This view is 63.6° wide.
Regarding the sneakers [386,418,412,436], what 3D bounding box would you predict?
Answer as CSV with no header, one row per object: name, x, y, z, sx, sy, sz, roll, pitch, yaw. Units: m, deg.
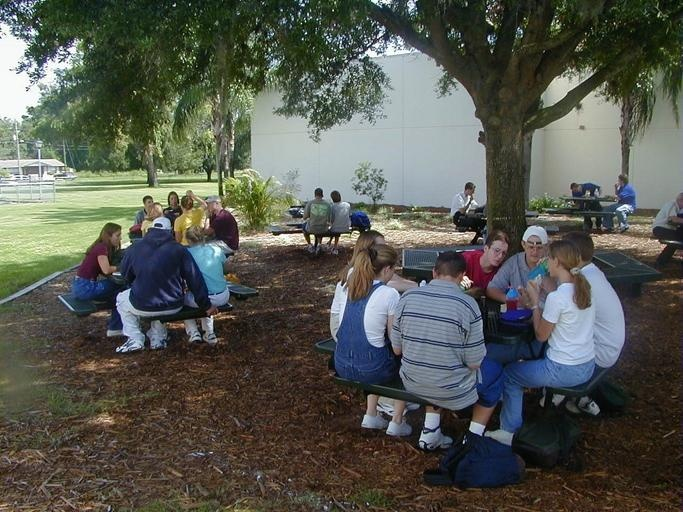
sneakers,0.519,1.565,5.036,0.242,0.112,0.111,2,-1,-28

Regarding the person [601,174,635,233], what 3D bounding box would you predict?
person,8.127,-1.592,16.011,0.813,1.553,3.280,5,11,27

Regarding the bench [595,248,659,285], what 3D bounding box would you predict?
bench,4.185,0.173,8.091,0.734,0.168,0.732,-5,25,-18

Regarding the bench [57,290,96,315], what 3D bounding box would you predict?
bench,-3.450,0.646,7.203,0.298,0.112,0.980,-7,12,-35

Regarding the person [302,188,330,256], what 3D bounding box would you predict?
person,-0.588,-0.845,13.051,0.676,1.503,0.501,1,10,9

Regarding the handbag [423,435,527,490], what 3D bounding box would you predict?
handbag,1.064,1.660,4.342,0.514,0.196,0.489,-5,5,16

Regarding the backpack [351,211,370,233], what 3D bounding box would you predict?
backpack,0.452,-0.847,14.015,0.475,0.481,0.992,0,10,0

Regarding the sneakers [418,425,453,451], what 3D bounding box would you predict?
sneakers,0.813,1.583,4.817,0.393,0.191,0.135,-2,3,-41

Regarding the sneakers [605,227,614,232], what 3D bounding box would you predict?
sneakers,7.549,-0.755,15.446,0.166,0.083,0.229,4,12,26

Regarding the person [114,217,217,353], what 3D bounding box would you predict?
person,-2.260,0.375,6.740,1.230,1.708,0.452,2,10,14

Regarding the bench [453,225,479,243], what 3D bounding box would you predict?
bench,3.200,-0.682,13.769,0.604,0.158,0.650,19,-10,28

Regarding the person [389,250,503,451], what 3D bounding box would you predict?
person,0.867,0.831,4.529,0.911,1.748,0.465,1,10,6

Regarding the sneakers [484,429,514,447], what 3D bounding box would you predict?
sneakers,1.324,1.527,4.641,0.172,0.086,0.130,-1,-15,37

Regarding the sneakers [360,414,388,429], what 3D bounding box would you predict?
sneakers,0.304,1.536,5.140,0.276,0.119,0.108,3,-3,-25

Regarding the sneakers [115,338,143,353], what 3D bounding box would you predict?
sneakers,-2.704,1.131,6.997,0.339,0.174,0.164,2,-1,-1

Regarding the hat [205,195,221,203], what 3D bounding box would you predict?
hat,-2.471,-1.104,10.485,0.213,0.114,0.165,25,24,29

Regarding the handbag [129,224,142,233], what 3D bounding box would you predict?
handbag,-4.025,-0.562,10.775,0.179,0.075,0.204,-8,2,5

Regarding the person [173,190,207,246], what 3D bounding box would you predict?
person,-2.907,-0.670,10.347,0.616,1.072,0.716,0,13,23

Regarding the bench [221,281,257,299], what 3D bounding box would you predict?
bench,-1.402,0.474,7.577,0.232,0.100,0.427,-4,10,-32

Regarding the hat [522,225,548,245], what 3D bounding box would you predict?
hat,1.980,-0.232,5.590,0.161,0.140,0.253,10,21,21

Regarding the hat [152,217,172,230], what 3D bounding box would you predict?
hat,-2.177,-0.402,6.678,0.184,0.156,0.235,5,11,26

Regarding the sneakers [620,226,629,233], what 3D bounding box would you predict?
sneakers,7.859,-0.746,15.248,0.149,0.181,0.447,-6,-4,34

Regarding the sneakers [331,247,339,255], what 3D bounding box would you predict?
sneakers,-0.168,-0.111,13.076,0.120,0.163,0.168,-6,37,14
